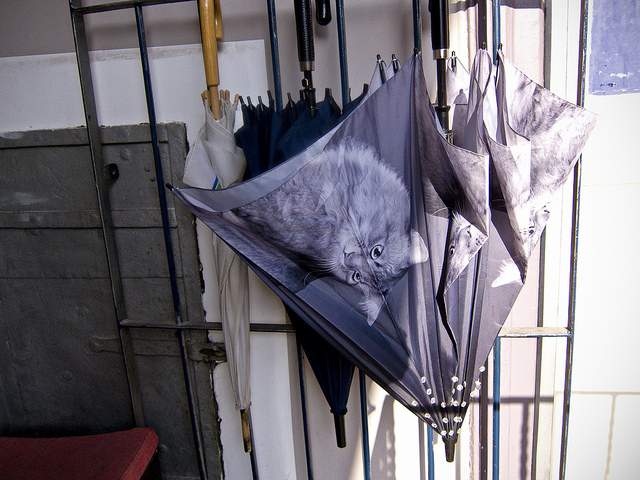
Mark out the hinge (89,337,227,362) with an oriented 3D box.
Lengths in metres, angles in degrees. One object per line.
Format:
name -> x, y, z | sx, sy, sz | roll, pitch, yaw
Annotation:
hinge -> -0.607, 0.424, 3.017 | 0.418, 0.085, 0.071 | 3, -14, 5

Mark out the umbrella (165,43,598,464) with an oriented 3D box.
umbrella -> 0.250, -0.003, 2.495 | 0.986, 1.329, 0.462 | -5, 12, 13
